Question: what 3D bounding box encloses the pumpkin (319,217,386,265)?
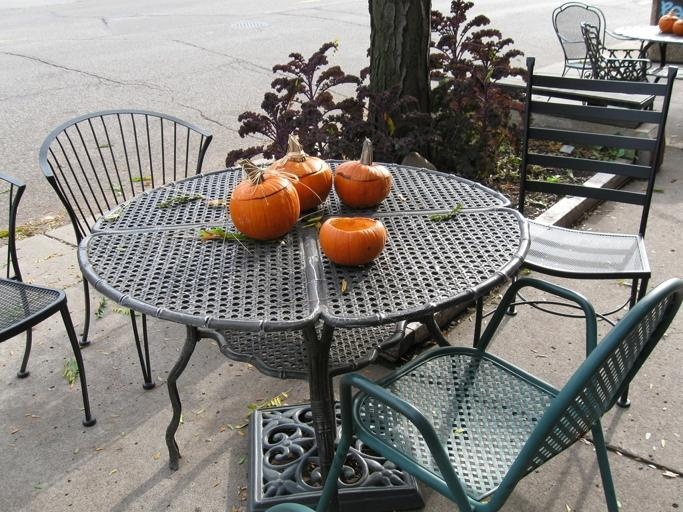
[{"bbox_3d":[0.049,-0.059,1.959,0.224,0.135,0.203,3,24,9],"label":"pumpkin"}]
